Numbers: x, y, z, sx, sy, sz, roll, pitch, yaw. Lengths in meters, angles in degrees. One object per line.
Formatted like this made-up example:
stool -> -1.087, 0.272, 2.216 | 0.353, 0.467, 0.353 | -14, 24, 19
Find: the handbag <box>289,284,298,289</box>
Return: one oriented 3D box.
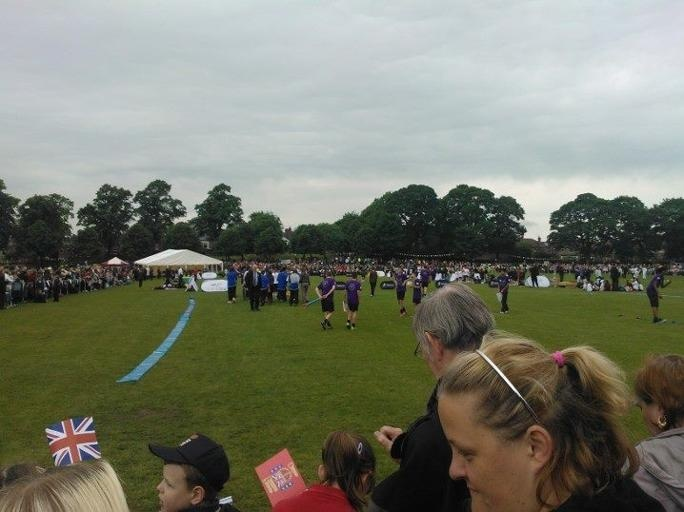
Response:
handbag -> -2.225, 1.364, 27.405 | 0.254, 0.221, 0.597 | 0, -1, 29
